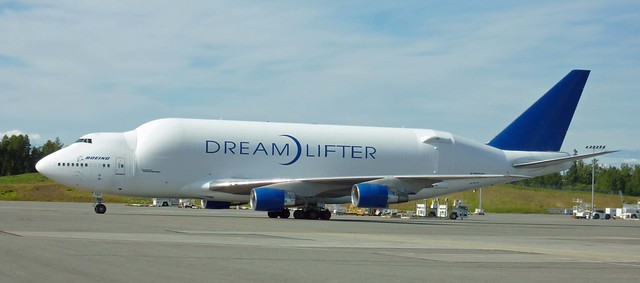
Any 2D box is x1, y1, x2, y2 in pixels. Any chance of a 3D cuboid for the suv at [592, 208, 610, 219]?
[{"bbox_3d":[44.378,11.468,98.789,3.400,1.048,1.698,0,-1,-22],"label":"suv"}]
